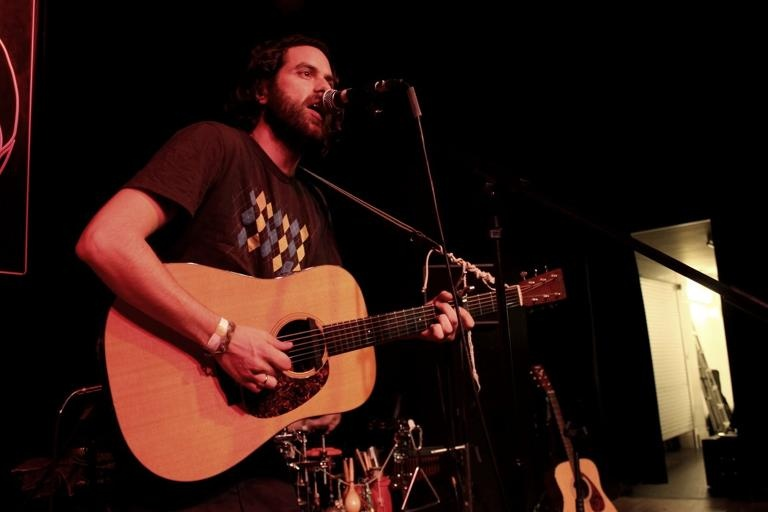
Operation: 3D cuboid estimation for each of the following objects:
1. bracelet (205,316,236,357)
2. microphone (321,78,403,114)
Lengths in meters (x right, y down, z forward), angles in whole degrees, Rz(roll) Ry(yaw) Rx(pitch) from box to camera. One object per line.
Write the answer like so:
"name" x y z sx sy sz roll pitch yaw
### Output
"bracelet" -0.883 0.438 3.622 0.072 0.198 0.144 26 -38 0
"microphone" -0.140 -1.004 4.117 0.509 0.223 0.225 -3 -46 17
